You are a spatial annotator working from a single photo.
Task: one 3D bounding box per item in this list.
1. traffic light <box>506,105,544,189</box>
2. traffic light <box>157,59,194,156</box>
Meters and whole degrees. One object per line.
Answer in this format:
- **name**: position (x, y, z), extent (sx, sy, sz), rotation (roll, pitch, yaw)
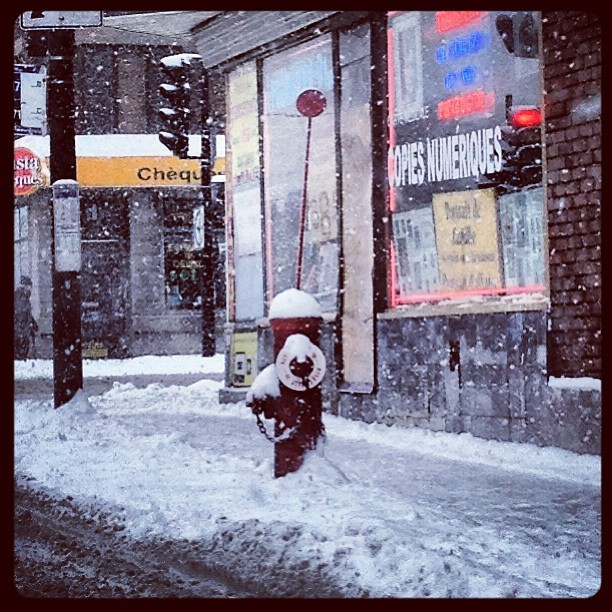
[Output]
- **traffic light**: position (2.305, -1.646, 8.998), extent (0.331, 0.845, 0.269), rotation (-1, 2, 25)
- **traffic light**: position (-2.308, -3.477, 14.947), extent (0.535, 1.580, 0.794), rotation (-2, 2, -10)
